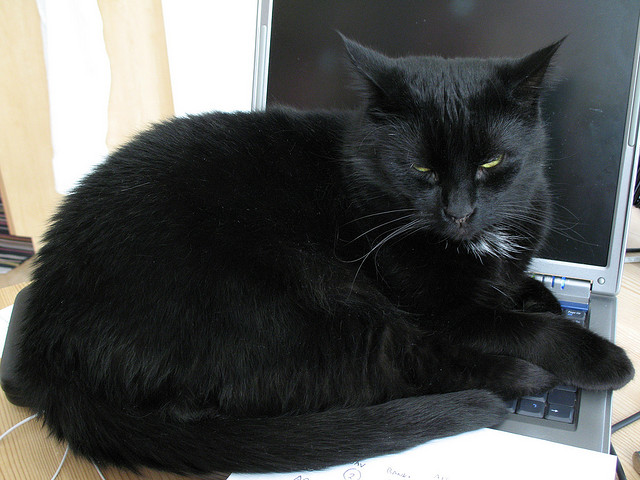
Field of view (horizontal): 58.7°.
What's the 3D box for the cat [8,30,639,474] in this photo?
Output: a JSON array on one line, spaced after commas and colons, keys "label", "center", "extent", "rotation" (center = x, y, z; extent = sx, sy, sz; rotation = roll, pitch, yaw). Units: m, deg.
[{"label": "cat", "center": [-0.027, 0.013, 1.243], "extent": [1.261, 0.732, 0.789], "rotation": [-1, 26, -1]}]
